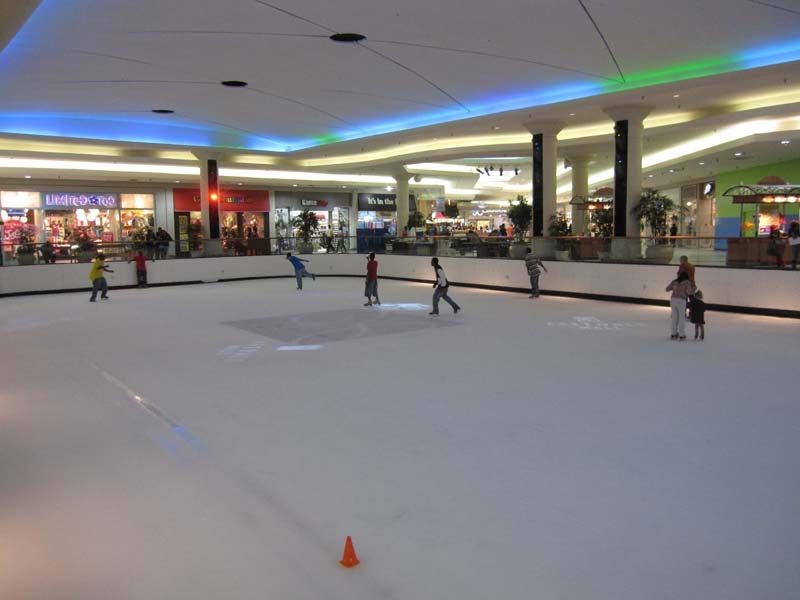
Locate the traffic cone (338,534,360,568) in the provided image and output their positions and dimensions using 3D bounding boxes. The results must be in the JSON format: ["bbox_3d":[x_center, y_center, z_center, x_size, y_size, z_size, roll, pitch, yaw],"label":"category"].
[{"bbox_3d":[-0.386,1.868,4.100,0.150,0.212,0.225,-2,8,-10],"label":"traffic cone"}]

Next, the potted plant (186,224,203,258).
[{"bbox_3d":[-9.497,-2.765,25.209,0.632,1.392,1.222,-4,8,-22],"label":"potted plant"}]

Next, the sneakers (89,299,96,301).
[{"bbox_3d":[-10.585,0.005,18.654,0.137,0.067,0.382,-4,9,-26],"label":"sneakers"}]

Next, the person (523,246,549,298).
[{"bbox_3d":[4.795,-0.997,18.998,0.698,1.697,1.745,1,8,15],"label":"person"}]

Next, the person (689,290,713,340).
[{"bbox_3d":[6.384,0.284,11.643,0.342,0.998,0.865,3,8,30],"label":"person"}]

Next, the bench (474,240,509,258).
[{"bbox_3d":[3.652,-2.042,21.465,0.271,0.647,1.524,-6,9,-37],"label":"bench"}]

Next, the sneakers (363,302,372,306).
[{"bbox_3d":[-1.011,0.122,16.828,0.100,0.130,0.298,-8,15,-44],"label":"sneakers"}]

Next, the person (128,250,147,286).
[{"bbox_3d":[-10.892,-1.320,22.734,0.479,1.537,1.038,-4,8,-26],"label":"person"}]

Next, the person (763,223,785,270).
[{"bbox_3d":[10.132,-1.392,14.572,0.386,0.946,1.408,4,9,35],"label":"person"}]

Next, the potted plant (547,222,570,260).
[{"bbox_3d":[5.970,-2.310,20.209,0.726,1.405,2.820,1,8,15],"label":"potted plant"}]
